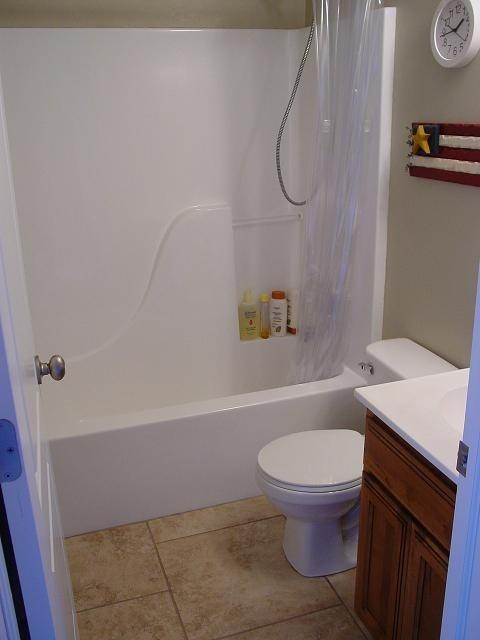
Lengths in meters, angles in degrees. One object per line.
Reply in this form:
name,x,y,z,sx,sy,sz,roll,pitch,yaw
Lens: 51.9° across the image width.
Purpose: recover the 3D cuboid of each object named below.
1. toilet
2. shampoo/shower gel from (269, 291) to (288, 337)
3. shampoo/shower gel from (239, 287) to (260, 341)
toilet,0.347,0.458,1.592,0.487,0.649,0.418,-5,20,1
shampoo/shower gel,0.207,-0.043,2.513,0.120,0.224,0.116,-7,17,-20
shampoo/shower gel,0.034,-0.034,2.484,0.124,0.237,0.141,7,18,25
